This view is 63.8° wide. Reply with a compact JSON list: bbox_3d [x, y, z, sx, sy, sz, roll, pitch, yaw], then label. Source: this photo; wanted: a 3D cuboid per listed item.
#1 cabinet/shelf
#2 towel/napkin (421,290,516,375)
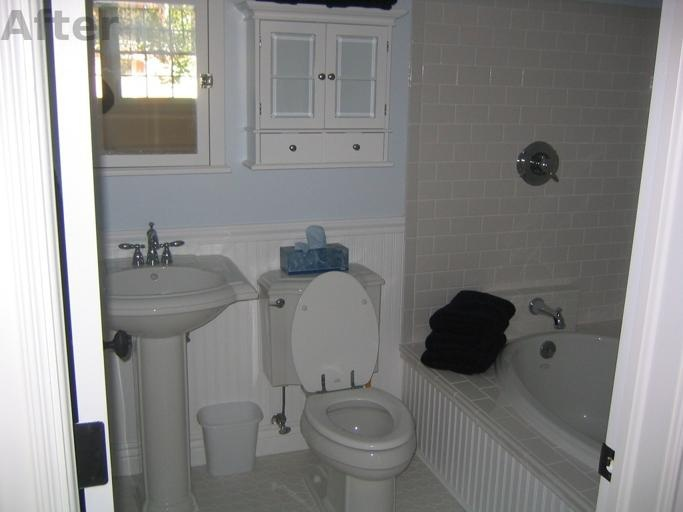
[{"bbox_3d":[-0.122,-0.804,2.551,0.700,0.752,0.229,-2,12,-16],"label":"cabinet/shelf"},{"bbox_3d":[0.624,0.382,2.753,0.308,0.298,0.408,12,19,43],"label":"towel/napkin"}]
